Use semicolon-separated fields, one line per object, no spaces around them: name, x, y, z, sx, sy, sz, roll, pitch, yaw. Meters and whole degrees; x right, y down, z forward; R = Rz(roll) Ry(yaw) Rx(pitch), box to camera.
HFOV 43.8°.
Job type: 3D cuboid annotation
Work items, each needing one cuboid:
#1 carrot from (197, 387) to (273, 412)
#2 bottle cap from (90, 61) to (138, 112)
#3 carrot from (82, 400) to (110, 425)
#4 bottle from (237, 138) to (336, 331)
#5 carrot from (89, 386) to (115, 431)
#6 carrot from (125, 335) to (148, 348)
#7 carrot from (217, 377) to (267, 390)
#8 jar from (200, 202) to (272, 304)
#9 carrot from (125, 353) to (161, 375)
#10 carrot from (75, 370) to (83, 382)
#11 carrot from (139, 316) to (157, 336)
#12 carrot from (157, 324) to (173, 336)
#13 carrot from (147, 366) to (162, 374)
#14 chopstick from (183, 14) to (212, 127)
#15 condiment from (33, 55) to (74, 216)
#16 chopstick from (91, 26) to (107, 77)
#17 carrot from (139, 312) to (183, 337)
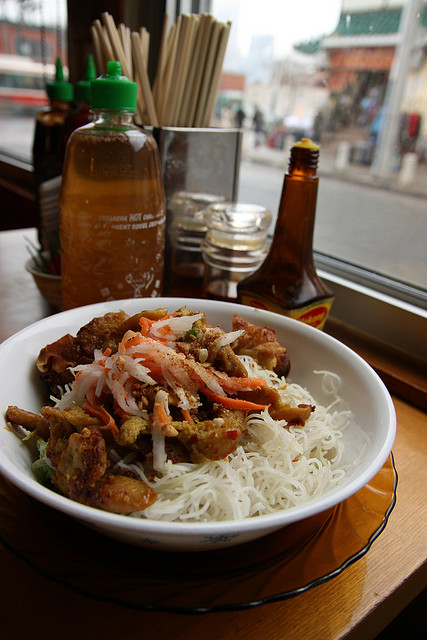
carrot;0.026;0.110;0.703;0.062;0.012;0.040;9;5;-37
bottle cap;-0.160;-0.366;0.845;0.078;0.074;0.076;-11;23;-34
carrot;-0.144;0.116;0.660;0.026;0.027;0.007;36;79;34
bottle;0.142;-0.121;0.984;0.188;0.391;0.182;4;26;-2
carrot;-0.146;0.111;0.663;0.012;0.037;0.044;-26;74;9
carrot;-0.104;0.029;0.701;0.017;0.005;0.017;-18;7;14
carrot;0.038;0.086;0.721;0.043;0.010;0.026;14;17;-28
jar;0.043;-0.132;1.049;0.148;0.211;0.148;5;33;-4
carrot;-0.083;0.057;0.686;0.033;0.008;0.030;33;24;-15
carrot;-0.186;0.076;0.722;0.004;0.015;0.015;12;47;0
carrot;-0.092;0.009;0.763;0.026;0.025;0.008;19;55;-6
carrot;-0.068;0.015;0.763;0.014;0.005;0.014;21;35;7
carrot;-0.076;0.065;0.684;0.017;0.010;0.006;2;26;-10
chopstick;-0.045;-0.473;1.047;0.031;0.228;0.017;10;40;-14
condiment;-0.424;-0.485;1.532;0.089;0.470;0.144;-12;19;-37
chopstick;-0.244;-0.574;1.128;0.027;0.141;0.022;44;73;-2
carrot;-0.081;0.003;0.773;0.046;0.023;0.029;-16;38;-26
